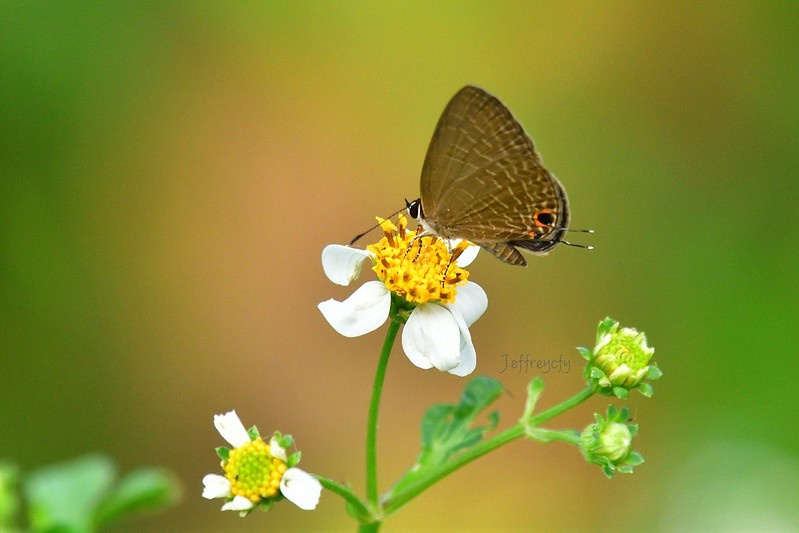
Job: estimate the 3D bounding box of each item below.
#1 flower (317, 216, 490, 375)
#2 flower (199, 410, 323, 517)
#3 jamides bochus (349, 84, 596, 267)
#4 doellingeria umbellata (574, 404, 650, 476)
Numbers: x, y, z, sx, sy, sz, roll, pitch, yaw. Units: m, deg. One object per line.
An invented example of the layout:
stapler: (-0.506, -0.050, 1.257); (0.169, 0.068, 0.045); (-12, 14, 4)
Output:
flower: (0.037, 0.106, 3.677); (0.895, 0.454, 0.627); (22, -81, -2)
flower: (-0.625, 0.942, 3.327); (0.522, 0.209, 0.477); (30, -64, 12)
jamides bochus: (0.349, -0.445, 4.067); (1.218, 1.078, 0.865); (0, -94, -14)
doellingeria umbellata: (0.999, 0.834, 3.426); (0.284, 0.200, 0.296); (-30, -83, 6)
